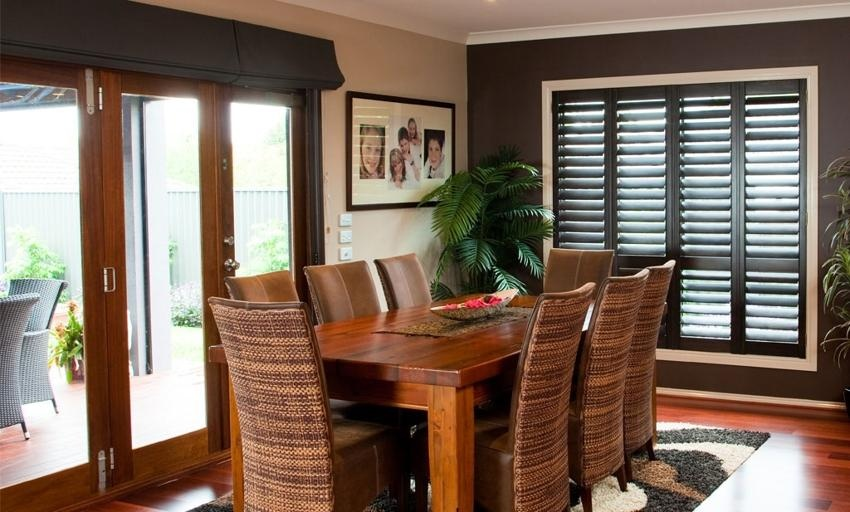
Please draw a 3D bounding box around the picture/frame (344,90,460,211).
[{"bbox_3d":[-0.252,-0.961,5.780,0.049,0.854,1.238,6,9,44],"label":"picture/frame"}]

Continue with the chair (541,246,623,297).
[{"bbox_3d":[1.241,0.108,5.037,0.399,0.533,0.443,2,0,35],"label":"chair"}]
